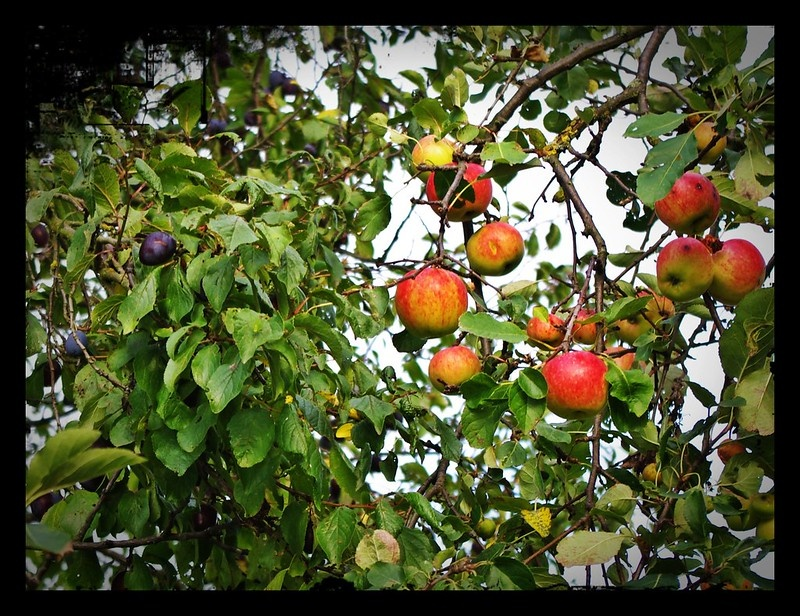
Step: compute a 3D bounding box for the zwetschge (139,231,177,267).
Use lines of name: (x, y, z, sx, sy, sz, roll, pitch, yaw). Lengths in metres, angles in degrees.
zwetschge: (-0.597, -0.144, 2.377, 0.064, 0.093, 0.055, -4, -57, 0)

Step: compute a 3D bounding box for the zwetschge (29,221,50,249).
zwetschge: (-1.037, -0.216, 2.802, 0.052, 0.043, 0.072, -34, -86, -9)
